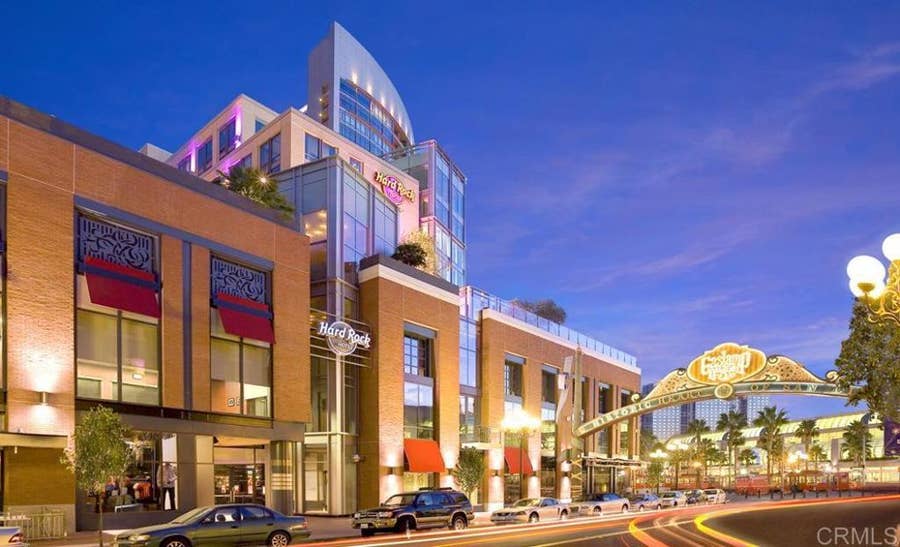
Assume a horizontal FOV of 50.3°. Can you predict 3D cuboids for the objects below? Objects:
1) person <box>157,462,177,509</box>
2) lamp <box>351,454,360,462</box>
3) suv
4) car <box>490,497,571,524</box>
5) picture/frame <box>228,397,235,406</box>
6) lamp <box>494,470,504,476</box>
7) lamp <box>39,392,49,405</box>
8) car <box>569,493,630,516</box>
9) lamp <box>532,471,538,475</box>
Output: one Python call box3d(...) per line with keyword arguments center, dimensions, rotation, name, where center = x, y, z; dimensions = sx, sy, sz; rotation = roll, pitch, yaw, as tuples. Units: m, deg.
box3d(center=(-16.160, 11.998, 54.615), dimensions=(1.176, 2.557, 0.719), rotation=(7, -26, -27), name="person")
box3d(center=(-6.500, 12.675, 65.889), dimensions=(0.529, 0.451, 0.517), rotation=(-1, -5, 5), name="lamp")
box3d(center=(-2.009, 13.605, 54.803), dimensions=(6.980, 2.724, 1.910), rotation=(14, -29, -37), name="suv")
box3d(center=(5.161, 15.537, 62.704), dimensions=(4.491, 1.223, 1.947), rotation=(15, -23, -42), name="car")
box3d(center=(-13.271, 7.731, 57.869), dimensions=(0.546, 0.514, 0.069), rotation=(4, -11, -20), name="picture/frame")
box3d(center=(3.869, 15.905, 76.645), dimensions=(0.582, 0.388, 0.568), rotation=(1, -6, -4), name="lamp")
box3d(center=(-21.338, 6.522, 50.261), dimensions=(0.569, 0.600, 0.547), rotation=(3, -7, -34), name="lamp")
box3d(center=(11.260, 17.221, 71.578), dimensions=(4.290, 1.361, 1.837), rotation=(15, -21, -38), name="car")
box3d(center=(7.219, 16.996, 81.736), dimensions=(0.368, 0.483, 0.727), rotation=(-7, -12, 32), name="lamp")
